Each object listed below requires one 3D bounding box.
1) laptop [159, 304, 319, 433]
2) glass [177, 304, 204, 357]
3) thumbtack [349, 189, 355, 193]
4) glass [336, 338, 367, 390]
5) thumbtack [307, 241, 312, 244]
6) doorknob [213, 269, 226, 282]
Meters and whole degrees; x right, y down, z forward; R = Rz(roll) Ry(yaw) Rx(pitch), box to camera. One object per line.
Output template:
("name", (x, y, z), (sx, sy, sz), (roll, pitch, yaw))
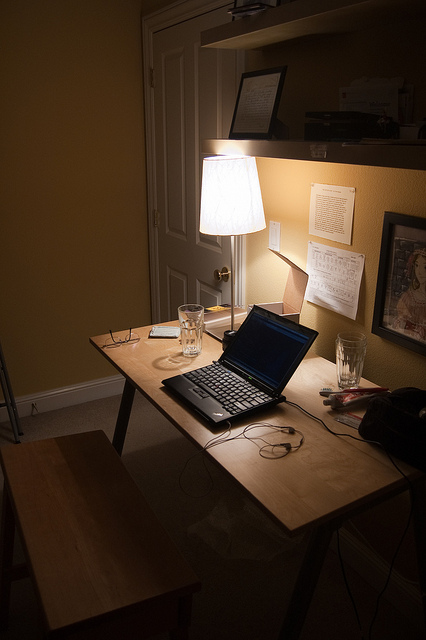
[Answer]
("laptop", (0.061, 0.110, 1.269), (0.335, 0.247, 0.321), (-2, 10, -31))
("glass", (-0.083, 0.034, 1.640), (0.090, 0.155, 0.205), (2, 9, -3))
("thumbtack", (0.420, -0.390, 1.367), (0.008, 0.006, 0.012), (-5, 33, -5))
("glass", (0.389, 0.119, 1.295), (0.082, 0.148, 0.084), (-12, 20, -36))
("thumbtack", (0.346, -0.274, 1.607), (0.011, 0.007, 0.008), (11, -1, 15))
("doorknob", (0.031, -0.225, 2.252), (0.044, 0.091, 0.084), (-6, 23, -23))
